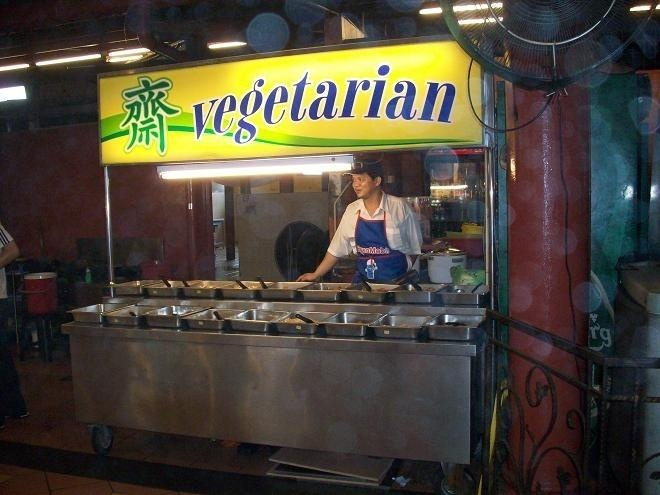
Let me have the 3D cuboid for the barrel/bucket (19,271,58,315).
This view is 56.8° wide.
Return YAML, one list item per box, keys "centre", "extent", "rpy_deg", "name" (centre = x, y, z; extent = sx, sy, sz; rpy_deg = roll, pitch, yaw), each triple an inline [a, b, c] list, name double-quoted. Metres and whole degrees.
- centre: [-3.396, 0.547, 7.128]
  extent: [0.404, 0.422, 0.459]
  rpy_deg: [-2, -3, 12]
  name: "barrel/bucket"

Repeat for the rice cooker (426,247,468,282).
- centre: [1.257, 0.182, 6.693]
  extent: [0.386, 0.325, 0.380]
  rpy_deg: [0, 2, -22]
  name: "rice cooker"

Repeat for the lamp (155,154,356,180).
- centre: [-0.594, -0.627, 4.712]
  extent: [1.610, 0.144, 0.211]
  rpy_deg: [2, 9, 20]
  name: "lamp"

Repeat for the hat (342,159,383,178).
- centre: [0.304, -0.663, 5.127]
  extent: [0.227, 0.108, 0.156]
  rpy_deg: [7, -3, -39]
  name: "hat"
